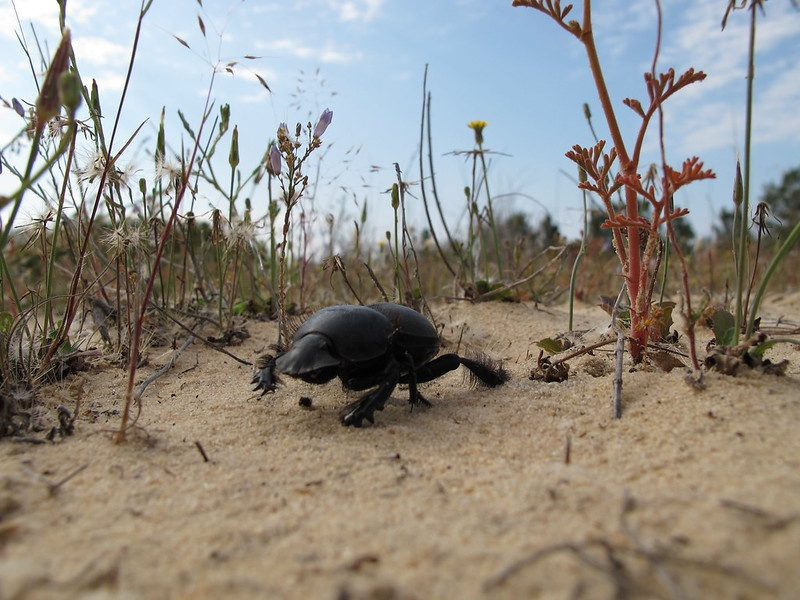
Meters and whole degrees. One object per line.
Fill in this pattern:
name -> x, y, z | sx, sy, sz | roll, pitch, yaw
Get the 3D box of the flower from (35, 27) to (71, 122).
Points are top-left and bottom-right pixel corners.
flower -> -1.299, -0.838, 2.581 | 0.123, 0.382, 0.251 | -4, 1, -28
